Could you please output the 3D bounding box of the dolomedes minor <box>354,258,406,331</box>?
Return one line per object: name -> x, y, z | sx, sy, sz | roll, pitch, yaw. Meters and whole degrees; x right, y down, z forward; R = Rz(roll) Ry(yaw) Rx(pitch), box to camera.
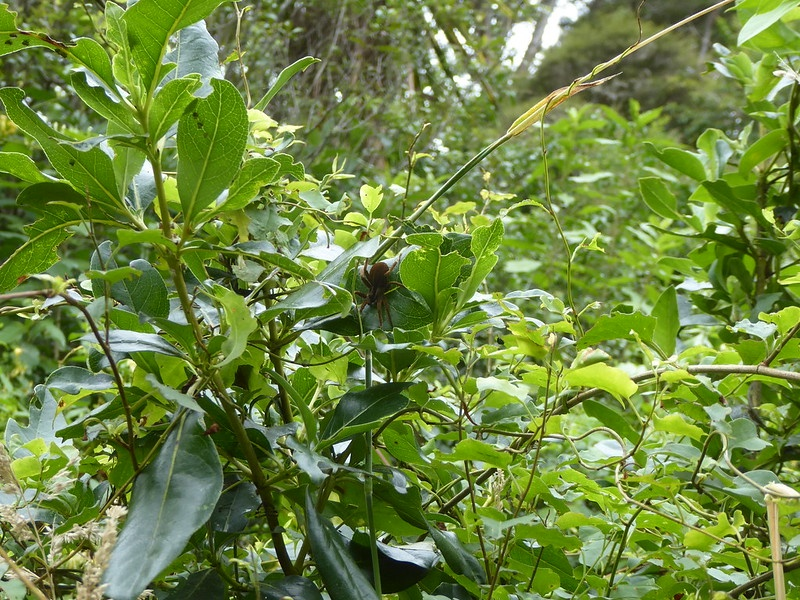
dolomedes minor -> -0.031, -0.016, 1.449 | 0.078, 0.097, 0.034 | -11, 42, -10
